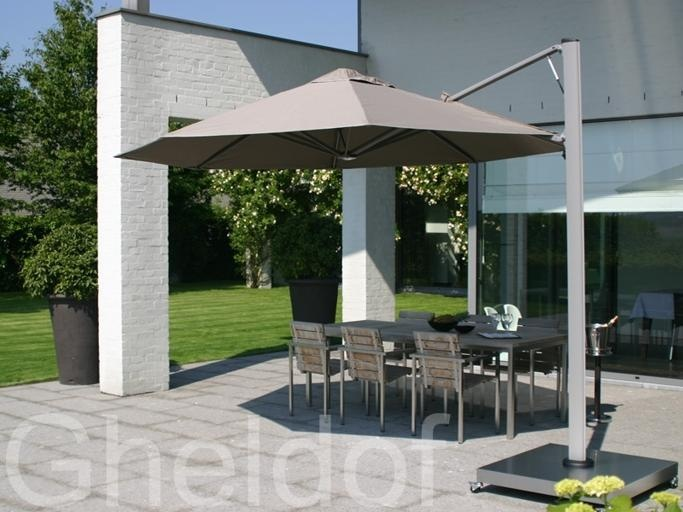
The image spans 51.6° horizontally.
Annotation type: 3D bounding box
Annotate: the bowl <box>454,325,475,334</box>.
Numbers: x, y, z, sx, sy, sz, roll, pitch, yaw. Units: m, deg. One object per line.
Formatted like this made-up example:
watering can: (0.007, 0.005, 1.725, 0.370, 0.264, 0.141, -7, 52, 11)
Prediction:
bowl: (1.353, 0.801, 7.804, 0.187, 0.091, 0.129, -2, -4, 7)

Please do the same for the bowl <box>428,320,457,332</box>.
bowl: (1.129, 0.753, 7.839, 0.306, 0.172, 0.159, -2, -4, 5)

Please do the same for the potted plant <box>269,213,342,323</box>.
potted plant: (-0.743, 0.210, 13.796, 1.496, 2.047, 1.446, -1, -1, 15)
